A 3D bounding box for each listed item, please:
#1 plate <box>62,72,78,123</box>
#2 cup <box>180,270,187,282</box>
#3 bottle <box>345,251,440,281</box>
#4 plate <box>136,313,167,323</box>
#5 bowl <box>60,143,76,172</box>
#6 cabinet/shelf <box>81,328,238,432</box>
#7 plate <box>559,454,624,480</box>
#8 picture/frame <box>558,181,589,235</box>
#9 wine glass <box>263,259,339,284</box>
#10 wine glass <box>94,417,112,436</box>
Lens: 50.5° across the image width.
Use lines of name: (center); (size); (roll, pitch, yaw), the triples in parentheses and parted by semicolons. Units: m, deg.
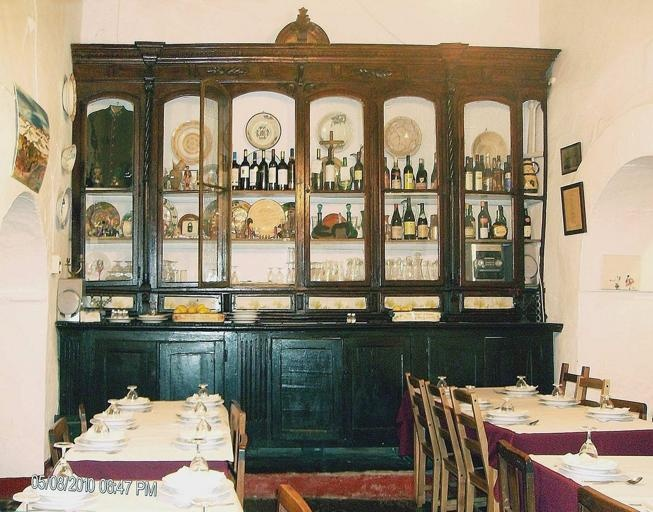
plate: (-2.466, -1.541, 6.589); (0.091, 0.475, 0.414); (0, -5, -15)
cup: (-1.427, 0.200, 6.855); (0.077, 0.173, 0.087); (-1, -7, 0)
bottle: (0.846, 0.115, 6.888); (0.534, 0.289, 0.181); (-2, -5, 5)
plate: (-1.634, 0.587, 6.447); (0.284, 0.101, 0.502); (0, -6, -14)
bowl: (-2.422, -0.928, 6.492); (0.062, 0.167, 0.198); (6, 42, 8)
cabinet/shelf: (-1.564, 1.193, 6.375); (1.295, 1.454, 0.546); (1, -3, -4)
plate: (1.428, 1.141, 3.725); (0.330, 0.119, 0.247); (-2, -5, 8)
picture/frame: (2.358, -0.442, 6.595); (0.029, 0.457, 0.302); (-5, -1, -16)
wine glass: (-0.245, 0.167, 6.934); (0.770, 0.223, 0.221); (-2, -5, 5)
wine glass: (-1.348, 1.035, 4.151); (0.110, 0.119, 0.086); (3, 0, 40)
